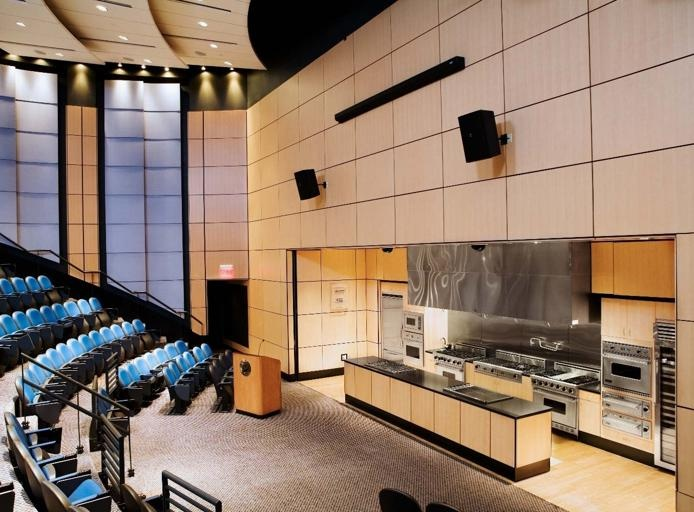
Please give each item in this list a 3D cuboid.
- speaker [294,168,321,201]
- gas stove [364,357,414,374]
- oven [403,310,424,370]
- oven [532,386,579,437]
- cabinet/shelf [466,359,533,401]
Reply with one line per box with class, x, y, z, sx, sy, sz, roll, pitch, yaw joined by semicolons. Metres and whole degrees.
speaker;-0.840;-1.523;11.250;0.547;0.657;0.568;-15;7;6
gas stove;0.749;2.132;10.484;0.607;0.088;1.142;-6;9;-39
oven;1.355;1.902;12.193;0.662;1.199;0.563;11;-19;-25
oven;3.731;2.542;9.522;0.656;0.942;0.880;0;1;-37
cabinet/shelf;2.852;2.297;10.096;0.750;0.564;1.043;0;-1;-38
